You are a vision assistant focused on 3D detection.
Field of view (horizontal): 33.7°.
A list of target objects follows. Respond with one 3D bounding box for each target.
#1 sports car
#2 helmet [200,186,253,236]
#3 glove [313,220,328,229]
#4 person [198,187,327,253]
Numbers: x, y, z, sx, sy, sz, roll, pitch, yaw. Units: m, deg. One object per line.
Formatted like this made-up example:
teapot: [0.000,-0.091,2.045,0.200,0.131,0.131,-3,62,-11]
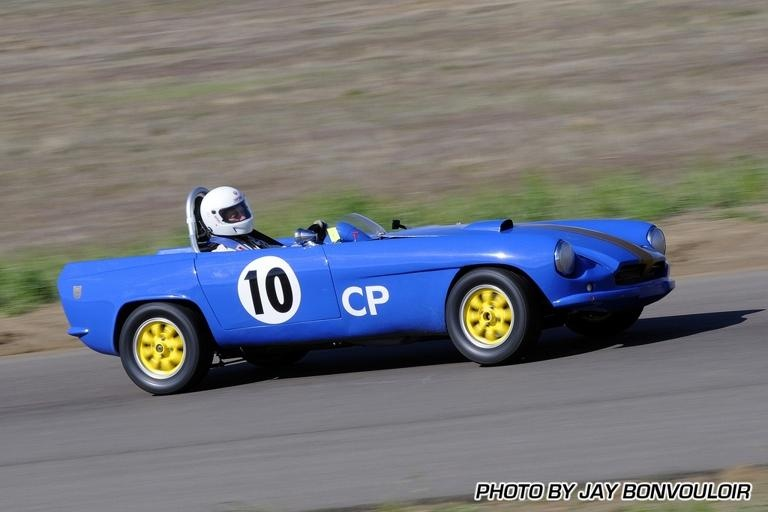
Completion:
sports car: [-0.174,0.407,14.454,5.972,1.392,2.723,-6,-2,12]
helmet: [-1.812,-0.520,14.763,0.740,0.435,0.518,5,21,33]
glove: [-0.714,-0.369,14.388,0.147,0.112,0.096,5,10,-9]
person: [-1.417,-0.412,14.545,1.564,0.502,0.746,-2,8,0]
